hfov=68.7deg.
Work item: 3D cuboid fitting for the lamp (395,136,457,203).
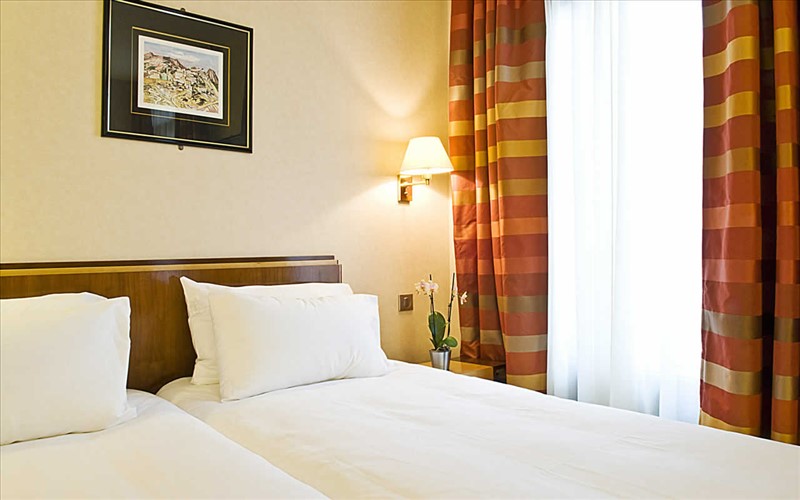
[{"bbox_3d":[0.145,-0.515,3.867,0.312,0.358,0.382,1,-4,-42],"label":"lamp"}]

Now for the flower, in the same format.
[{"bbox_3d":[0.281,0.410,3.939,0.336,0.482,0.589,-2,-2,12],"label":"flower"}]

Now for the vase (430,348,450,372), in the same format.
[{"bbox_3d":[0.248,0.681,3.647,0.124,0.128,0.123,4,-10,-40],"label":"vase"}]
